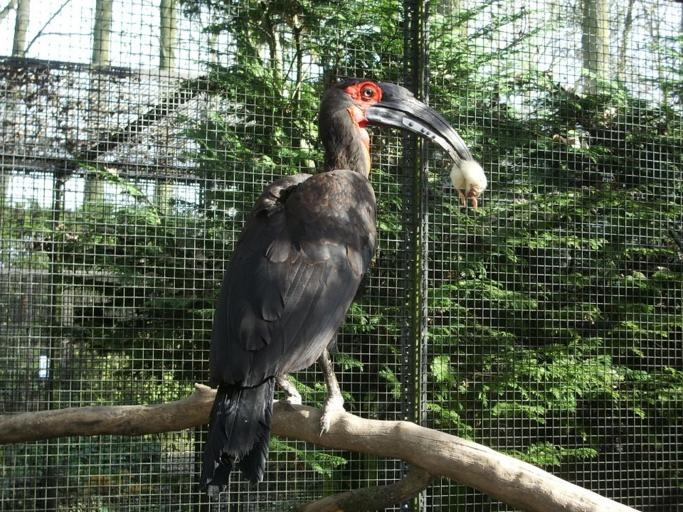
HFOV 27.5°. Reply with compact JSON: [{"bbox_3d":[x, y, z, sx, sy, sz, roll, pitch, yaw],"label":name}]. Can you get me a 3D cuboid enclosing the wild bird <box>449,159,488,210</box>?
[{"bbox_3d":[0.889,-0.516,9.812,0.182,0.288,0.420,1,-6,-10],"label":"wild bird"}]
